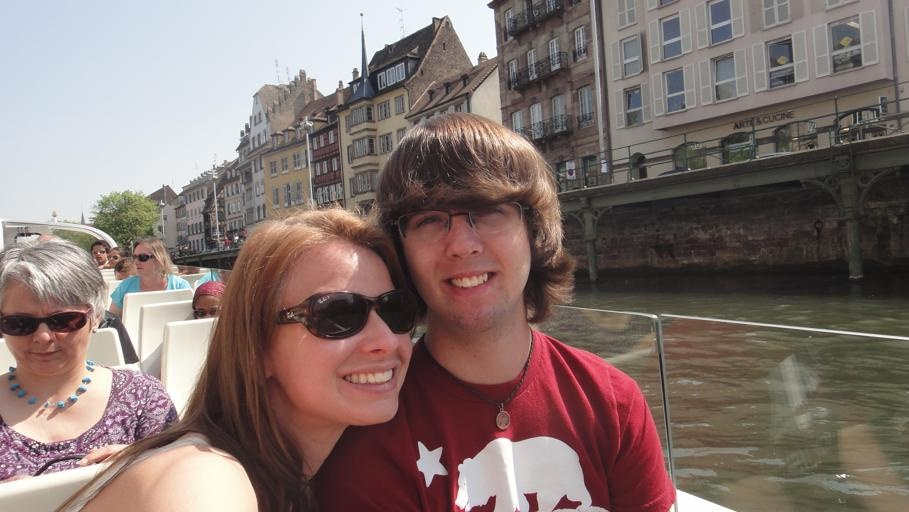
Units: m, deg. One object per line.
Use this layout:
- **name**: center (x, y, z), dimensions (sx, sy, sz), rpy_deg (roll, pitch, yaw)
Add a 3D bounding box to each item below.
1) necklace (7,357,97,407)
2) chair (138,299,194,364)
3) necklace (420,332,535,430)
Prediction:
- **necklace**: center (-2.727, 0.866, 4.409), dimensions (0.339, 0.340, 0.081), rpy_deg (7, 0, -13)
- **chair**: center (-2.839, 0.767, 6.422), dimensions (0.335, 0.636, 0.632), rpy_deg (-3, -2, 40)
- **necklace**: center (0.236, 0.799, 3.967), dimensions (0.455, 0.468, 0.182), rpy_deg (5, 5, -4)
